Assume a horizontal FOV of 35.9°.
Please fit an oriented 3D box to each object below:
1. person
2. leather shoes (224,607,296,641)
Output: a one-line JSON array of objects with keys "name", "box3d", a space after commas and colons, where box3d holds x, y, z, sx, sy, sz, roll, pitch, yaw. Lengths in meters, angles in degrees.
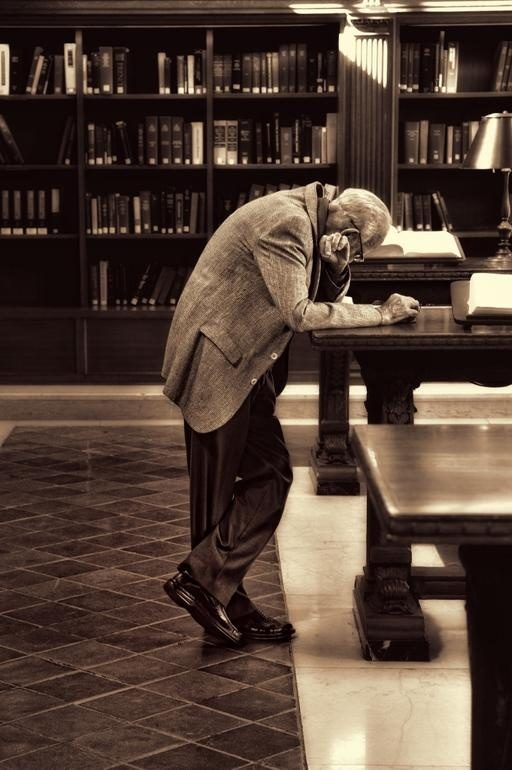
[{"name": "person", "box3d": [0.069, 0.113, 2.079, 0.615, 1.250, 0.412, 0, 7, -8]}, {"name": "leather shoes", "box3d": [0.013, 0.671, 2.250, 0.189, 0.073, 0.075, 1, 10, 0]}]
